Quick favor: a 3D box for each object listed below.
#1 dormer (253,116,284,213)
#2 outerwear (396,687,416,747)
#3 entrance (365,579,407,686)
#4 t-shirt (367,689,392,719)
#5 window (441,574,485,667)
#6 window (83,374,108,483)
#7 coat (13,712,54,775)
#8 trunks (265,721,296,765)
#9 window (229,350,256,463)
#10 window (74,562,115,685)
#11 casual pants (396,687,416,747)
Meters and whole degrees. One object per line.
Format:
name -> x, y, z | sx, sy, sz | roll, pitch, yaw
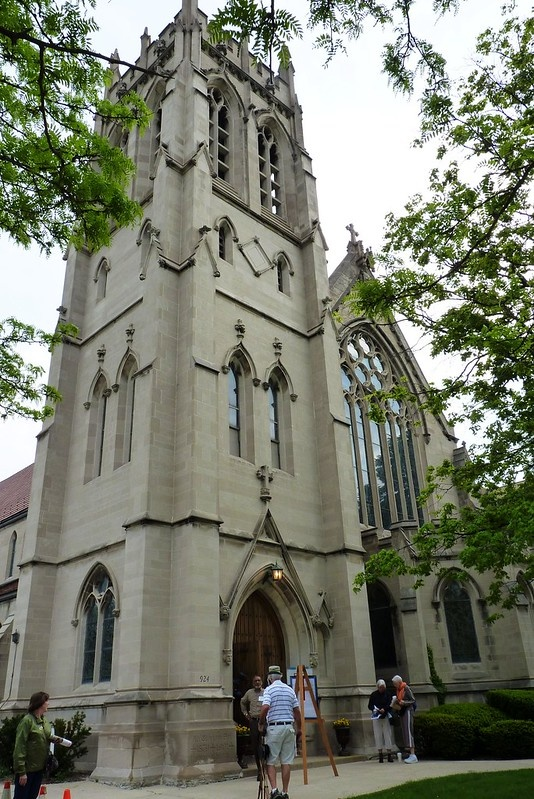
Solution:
dormer -> -0.091, -9.084, 21.760 | 0.739, 0.307, 3.167 | -24, -52, -37
outerwear -> 3.062, 6.982, 12.119 | 0.371, 1.308, 1.094 | -9, -26, 8
entrance -> 3.737, 7.557, 18.086 | 1.333, 3.424, 0.313 | -7, -9, 5
t-shirt -> 2.557, 6.918, 12.462 | 0.529, 0.564, 0.433 | -11, -27, 9
window -> 6.158, 7.283, 17.748 | 0.959, 2.999, 0.156 | -11, 6, 24
window -> -5.205, 0.755, 16.780 | 0.226, 3.561, 1.162 | 12, 10, 17
coat -> -2.324, 3.402, 5.443 | 0.237, 0.522, 0.640 | -4, -27, -4
trunks -> 0.139, 3.776, 6.041 | 0.235, 0.414, 0.293 | -31, -51, 27
window -> -0.746, 0.241, 15.581 | 0.742, 3.105, 0.466 | -3, -26, -5
window -> -4.231, 5.661, 13.648 | 0.257, 3.149, 1.749 | 27, -49, -33
casual pants -> 3.062, 6.982, 12.119 | 0.371, 1.308, 1.094 | -9, -26, 8
